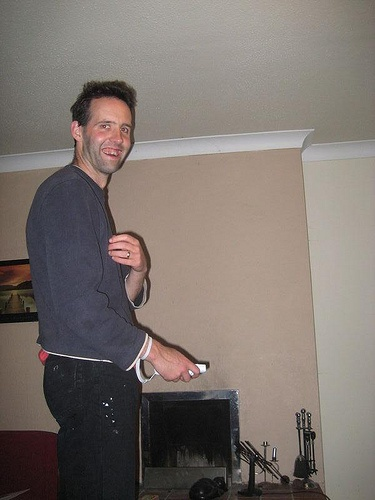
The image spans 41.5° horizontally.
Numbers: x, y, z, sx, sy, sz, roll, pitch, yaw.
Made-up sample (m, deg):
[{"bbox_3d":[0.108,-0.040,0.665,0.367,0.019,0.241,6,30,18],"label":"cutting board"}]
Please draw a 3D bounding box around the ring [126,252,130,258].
[{"bbox_3d":[-0.151,0.013,1.252,0.012,0.016,0.006,0,-1,-9],"label":"ring"}]
